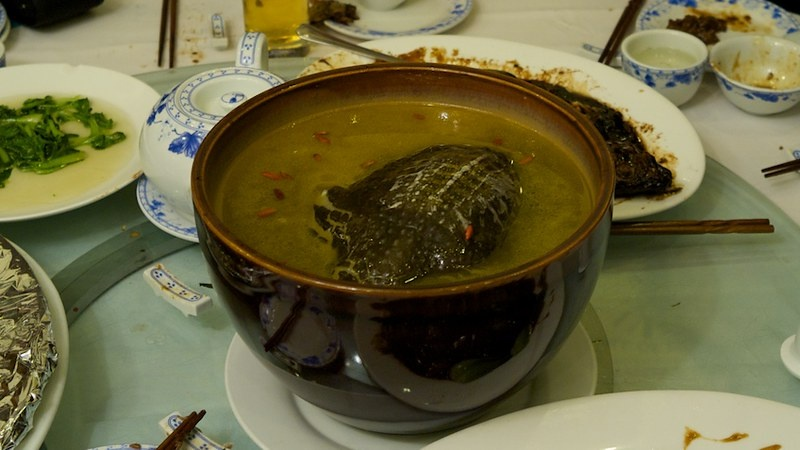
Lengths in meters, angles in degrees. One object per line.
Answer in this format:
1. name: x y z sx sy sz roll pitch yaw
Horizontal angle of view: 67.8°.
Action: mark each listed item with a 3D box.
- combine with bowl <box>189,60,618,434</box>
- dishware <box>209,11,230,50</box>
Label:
1. combine with bowl: 0.009 0.024 1.108 0.695 0.360 0.622 -16 60 -12
2. dishware: -0.643 -0.685 2.113 0.046 0.118 0.120 -4 43 -7
